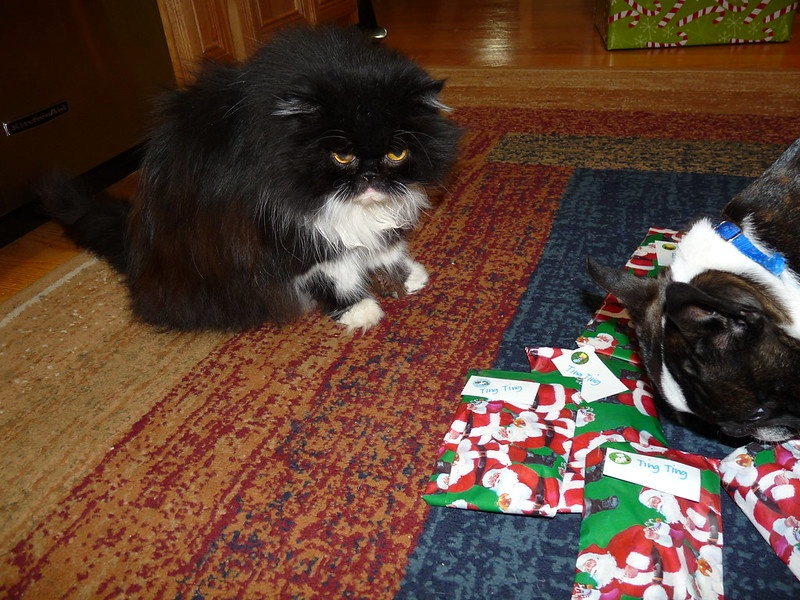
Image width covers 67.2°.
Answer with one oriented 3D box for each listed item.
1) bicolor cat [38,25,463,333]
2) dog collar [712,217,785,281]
[{"bbox_3d":[-0.436,-0.416,1.902,1.655,0.783,0.643,4,46,4],"label":"bicolor cat"},{"bbox_3d":[0.816,-0.114,1.395,0.206,0.029,0.060,37,85,20],"label":"dog collar"}]
